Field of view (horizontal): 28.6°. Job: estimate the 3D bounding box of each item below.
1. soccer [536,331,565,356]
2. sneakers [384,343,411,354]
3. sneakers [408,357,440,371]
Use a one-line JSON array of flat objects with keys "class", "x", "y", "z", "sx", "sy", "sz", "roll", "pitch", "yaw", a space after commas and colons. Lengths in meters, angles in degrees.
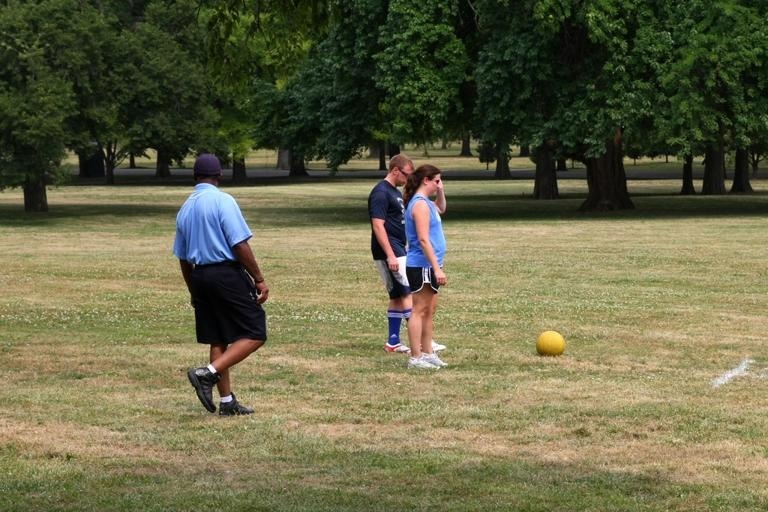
[{"class": "soccer", "x": 3.595, "y": 1.867, "z": 32.943, "sx": 0.610, "sy": 0.510, "sz": 0.375, "roll": -2, "pitch": 5, "yaw": 3}, {"class": "sneakers", "x": 0.292, "y": 2.005, "z": 33.205, "sx": 0.612, "sy": 0.226, "sz": 0.201, "roll": 0, "pitch": -1, "yaw": 6}, {"class": "sneakers", "x": 0.840, "y": 2.266, "z": 32.353, "sx": 0.728, "sy": 0.245, "sz": 0.229, "roll": 2, "pitch": 2, "yaw": 0}]
